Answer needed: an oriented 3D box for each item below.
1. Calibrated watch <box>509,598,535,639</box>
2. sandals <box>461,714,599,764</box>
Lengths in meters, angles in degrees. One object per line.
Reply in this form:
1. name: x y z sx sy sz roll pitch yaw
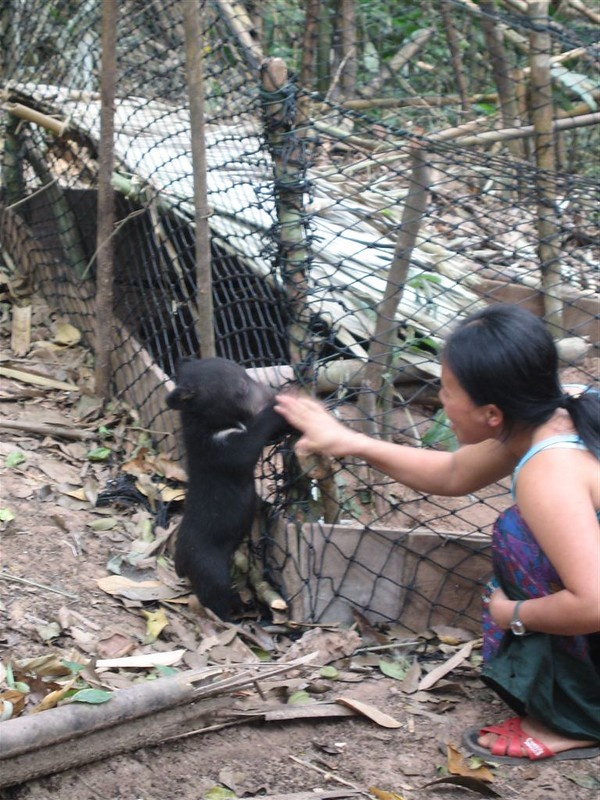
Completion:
1. Calibrated watch: 0.561 0.559 2.282 0.062 0.096 0.090 5 43 10
2. sandals: 0.591 0.876 2.280 0.246 0.032 0.114 1 12 -2
